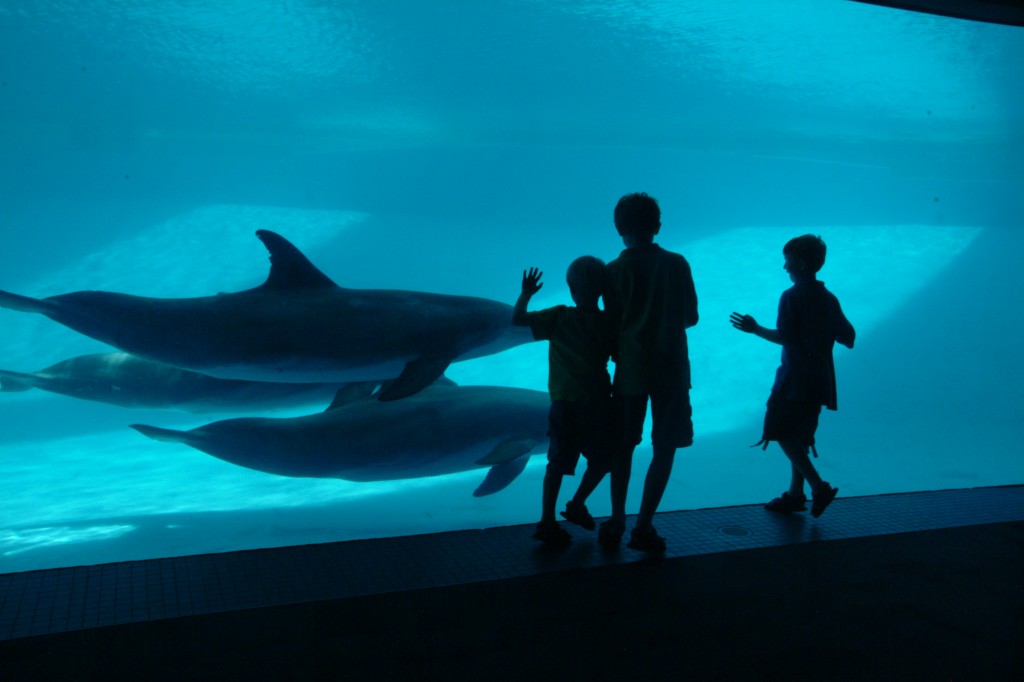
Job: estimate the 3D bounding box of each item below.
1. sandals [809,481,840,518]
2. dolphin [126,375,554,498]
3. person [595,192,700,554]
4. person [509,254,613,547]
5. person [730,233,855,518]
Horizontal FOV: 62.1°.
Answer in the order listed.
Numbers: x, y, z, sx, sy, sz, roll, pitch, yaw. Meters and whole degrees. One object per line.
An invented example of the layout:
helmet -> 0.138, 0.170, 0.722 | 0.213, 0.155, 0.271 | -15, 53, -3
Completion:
sandals -> 2.749, 1.425, 7.560 | 0.197, 0.382, 0.171 | 27, 43, 3
dolphin -> -1.163, 0.842, 8.727 | 4.772, 1.267, 1.235 | -4, -11, -8
person -> 0.918, 0.206, 7.695 | 1.309, 2.690, 1.049 | 1, 1, -2
person -> 0.474, 0.515, 7.302 | 0.808, 2.491, 0.277 | -1, -1, -1
person -> 2.621, 0.295, 7.743 | 1.017, 2.540, 0.540 | -1, -1, 0
